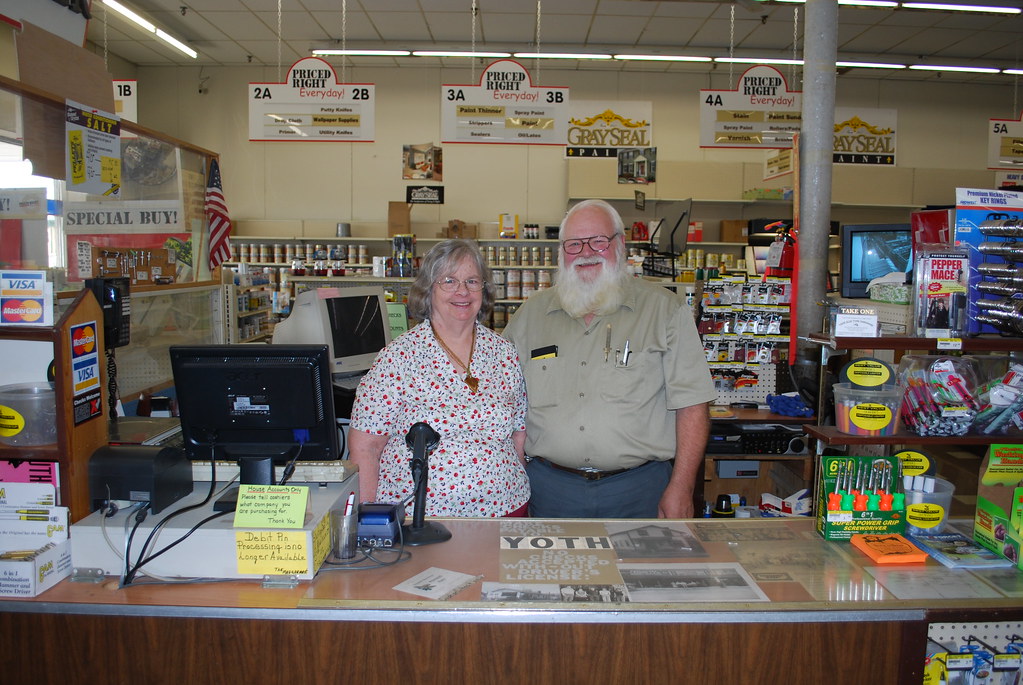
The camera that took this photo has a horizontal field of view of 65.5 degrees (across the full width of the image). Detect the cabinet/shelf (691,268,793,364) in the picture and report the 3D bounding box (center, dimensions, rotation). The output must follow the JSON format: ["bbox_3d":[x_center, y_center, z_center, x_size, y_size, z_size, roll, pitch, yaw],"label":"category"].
[{"bbox_3d":[1.615,-0.201,5.688,0.658,0.603,0.415,0,11,-10],"label":"cabinet/shelf"}]

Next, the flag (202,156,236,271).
[{"bbox_3d":[-2.230,-0.957,5.979,0.214,0.827,0.334,2,8,-6],"label":"flag"}]

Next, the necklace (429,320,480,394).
[{"bbox_3d":[-0.257,0.058,3.619,0.140,0.023,0.437,-1,47,-32],"label":"necklace"}]

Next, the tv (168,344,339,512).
[{"bbox_3d":[-1.031,0.332,3.197,0.655,0.603,0.232,-2,7,5],"label":"tv"}]

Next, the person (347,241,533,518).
[{"bbox_3d":[-0.270,0.285,3.701,0.905,1.377,0.695,-2,9,-33],"label":"person"}]

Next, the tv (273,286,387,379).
[{"bbox_3d":[-1.296,-0.084,5.561,0.666,0.735,0.886,0,2,24],"label":"tv"}]

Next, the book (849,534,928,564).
[{"bbox_3d":[1.513,0.826,3.183,0.271,0.079,0.149,0,6,-3],"label":"book"}]

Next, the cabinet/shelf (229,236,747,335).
[{"bbox_3d":[-0.585,-0.977,9.854,4.798,1.054,0.426,1,43,17],"label":"cabinet/shelf"}]

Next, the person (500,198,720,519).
[{"bbox_3d":[0.510,0.027,4.114,0.733,1.599,0.874,0,2,-1],"label":"person"}]
